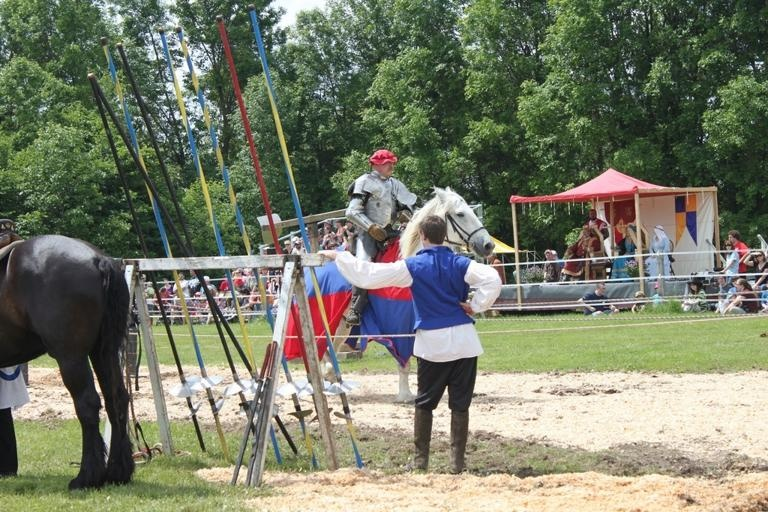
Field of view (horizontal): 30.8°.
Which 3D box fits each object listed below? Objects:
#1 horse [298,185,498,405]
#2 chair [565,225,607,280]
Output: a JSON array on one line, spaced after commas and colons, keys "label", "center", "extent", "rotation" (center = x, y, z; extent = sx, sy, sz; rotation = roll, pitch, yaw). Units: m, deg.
[{"label": "horse", "center": [0.214, 1.574, 42.505], "extent": [2.083, 5.617, 8.666], "rotation": [12, -19, -39]}, {"label": "chair", "center": [7.499, -0.007, 52.259], "extent": [1.510, 2.469, 1.256], "rotation": [3, 0, -19]}]
